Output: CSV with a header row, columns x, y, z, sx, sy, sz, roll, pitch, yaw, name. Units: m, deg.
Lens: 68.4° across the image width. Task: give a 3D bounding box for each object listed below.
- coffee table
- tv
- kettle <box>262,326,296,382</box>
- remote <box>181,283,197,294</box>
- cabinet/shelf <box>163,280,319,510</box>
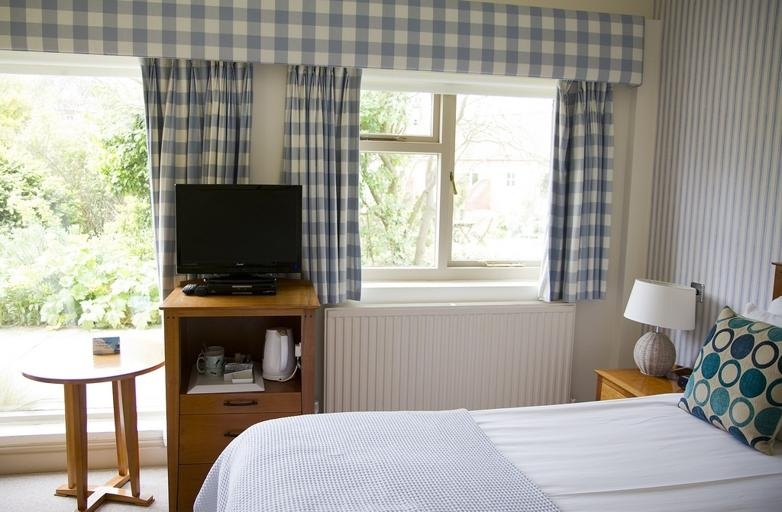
x,y,z,sx,sy,sz,roll,pitch,yaw,name
-1.786,0.993,3.737,0.791,1.086,0.797,0,6,-11,coffee table
-0.956,-0.118,3.597,0.811,0.616,0.072,0,7,-8,tv
-0.770,0.617,3.593,0.229,0.303,0.316,0,11,-17,kettle
-1.247,0.204,3.573,0.070,0.029,0.085,0,15,-15,remote
-0.976,0.839,3.915,1.075,1.330,0.865,1,9,-11,cabinet/shelf
